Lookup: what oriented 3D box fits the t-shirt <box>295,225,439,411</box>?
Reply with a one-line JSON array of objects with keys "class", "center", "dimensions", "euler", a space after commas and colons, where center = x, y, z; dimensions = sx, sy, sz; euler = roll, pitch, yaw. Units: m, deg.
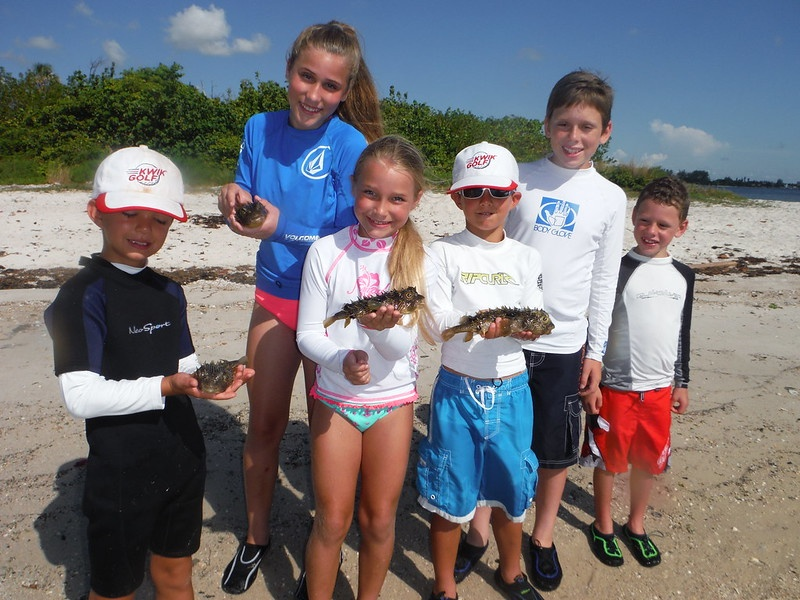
[{"class": "t-shirt", "center": [-0.213, 0.025, 4.811], "dimensions": [1.009, 1.320, 0.716], "euler": [7, 28, 10]}]

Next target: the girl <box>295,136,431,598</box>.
[{"class": "girl", "center": [-0.317, 0.615, 4.753], "dimensions": [0.931, 3.704, 1.059], "euler": [7, 13, 21]}]

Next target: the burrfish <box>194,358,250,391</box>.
[{"class": "burrfish", "center": [-1.273, 0.529, 4.363], "dimensions": [0.182, 0.122, 0.297], "euler": [20, 15, 12]}]

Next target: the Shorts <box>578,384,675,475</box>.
[{"class": "Shorts", "center": [2.179, 1.084, 5.735], "dimensions": [0.812, 1.015, 0.547], "euler": [1, 16, 3]}]

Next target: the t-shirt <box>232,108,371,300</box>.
[{"class": "t-shirt", "center": [-0.760, -0.809, 5.031], "dimensions": [1.340, 1.704, 0.689], "euler": [7, 8, 9]}]

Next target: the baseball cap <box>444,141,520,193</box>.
[{"class": "baseball cap", "center": [0.677, -1.068, 4.994], "dimensions": [0.546, 0.431, 0.340], "euler": [4, 12, 3]}]

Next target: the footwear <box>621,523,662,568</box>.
[{"class": "footwear", "center": [2.184, 2.190, 5.569], "dimensions": [0.231, 0.165, 0.481], "euler": [-6, 26, -11]}]

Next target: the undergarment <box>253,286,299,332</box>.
[{"class": "undergarment", "center": [-1.006, 0.063, 5.243], "dimensions": [0.375, 0.222, 0.295], "euler": [30, 9, 20]}]

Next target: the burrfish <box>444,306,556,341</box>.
[{"class": "burrfish", "center": [0.723, 0.176, 4.701], "dimensions": [0.575, 0.219, 0.140], "euler": [-5, 25, -8]}]

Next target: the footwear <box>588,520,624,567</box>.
[{"class": "footwear", "center": [1.839, 2.176, 5.491], "dimensions": [0.157, 0.136, 0.332], "euler": [-2, 24, -8]}]

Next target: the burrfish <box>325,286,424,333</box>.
[{"class": "burrfish", "center": [-0.201, 0.067, 4.526], "dimensions": [0.463, 0.204, 0.141], "euler": [-16, 37, 1]}]

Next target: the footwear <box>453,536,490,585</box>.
[{"class": "footwear", "center": [0.598, 2.236, 5.365], "dimensions": [0.150, 0.171, 0.429], "euler": [1, 26, 37]}]
